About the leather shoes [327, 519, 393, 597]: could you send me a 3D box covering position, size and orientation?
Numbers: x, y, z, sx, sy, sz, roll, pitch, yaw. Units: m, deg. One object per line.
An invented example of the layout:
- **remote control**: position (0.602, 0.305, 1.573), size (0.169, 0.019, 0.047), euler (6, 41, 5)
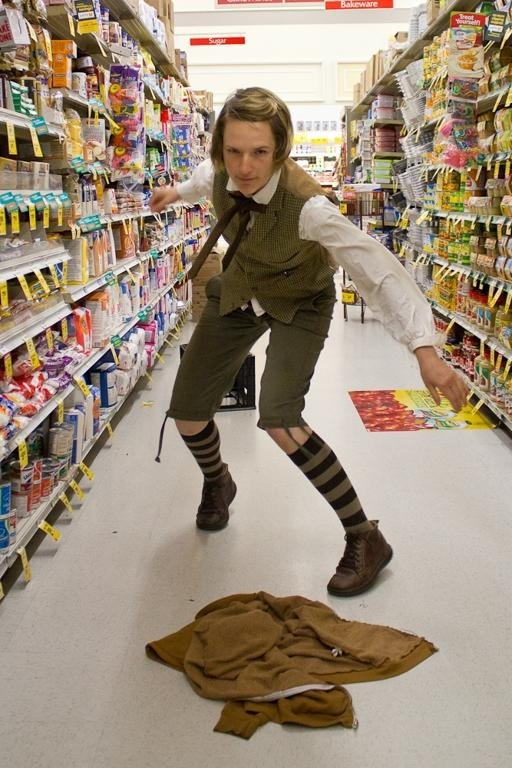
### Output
- **leather shoes**: position (0.350, 0.592, 1.758), size (0.154, 0.144, 0.326), euler (10, 24, 25)

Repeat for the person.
- **person**: position (0.014, 0.041, 1.595), size (0.791, 1.567, 0.910), euler (2, 15, 8)

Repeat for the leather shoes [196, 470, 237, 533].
- **leather shoes**: position (-0.169, 0.487, 2.200), size (0.156, 0.228, 0.213), euler (0, 23, -4)
